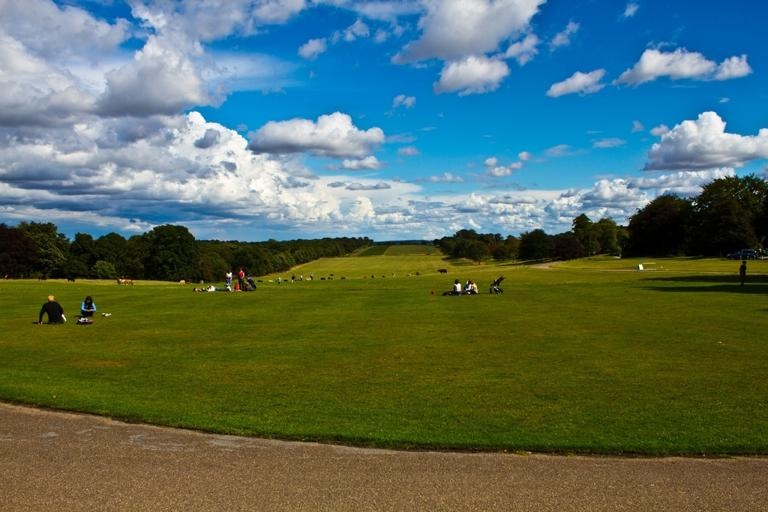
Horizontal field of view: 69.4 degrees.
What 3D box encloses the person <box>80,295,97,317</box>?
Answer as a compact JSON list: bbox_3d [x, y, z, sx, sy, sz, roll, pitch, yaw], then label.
[{"bbox_3d":[-19.391,3.501,36.141,0.710,1.467,1.522,-7,15,-31],"label":"person"}]
